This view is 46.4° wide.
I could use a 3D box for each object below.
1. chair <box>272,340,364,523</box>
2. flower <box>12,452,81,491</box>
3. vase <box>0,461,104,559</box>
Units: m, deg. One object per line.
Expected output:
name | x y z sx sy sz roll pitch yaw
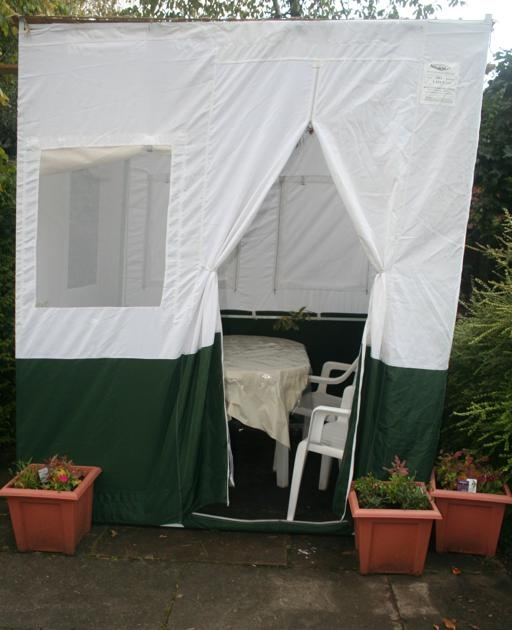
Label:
chair | 0.388 0.682 3.704 0.744 1.073 0.703 3 7 3
flower | -1.048 0.807 2.995 0.205 0.080 0.206 2 1 24
vase | -1.009 0.940 3.030 0.406 0.333 0.419 0 4 9
